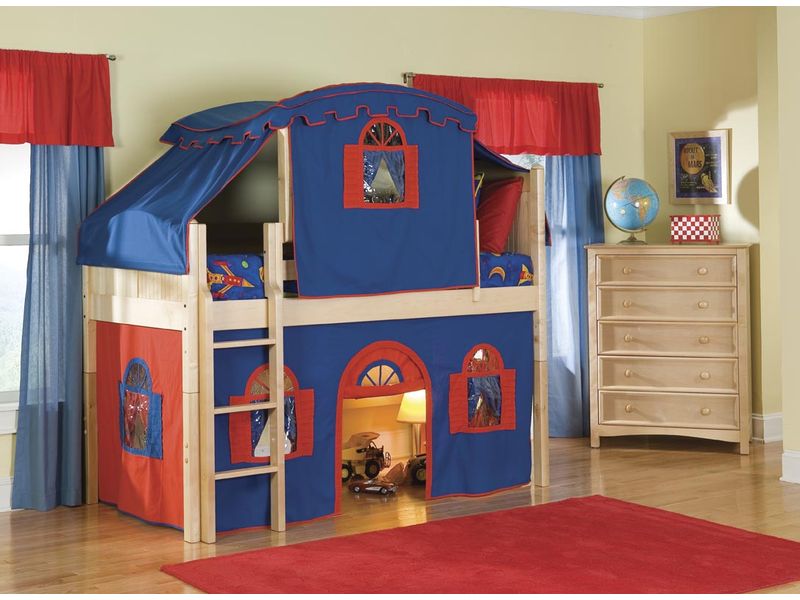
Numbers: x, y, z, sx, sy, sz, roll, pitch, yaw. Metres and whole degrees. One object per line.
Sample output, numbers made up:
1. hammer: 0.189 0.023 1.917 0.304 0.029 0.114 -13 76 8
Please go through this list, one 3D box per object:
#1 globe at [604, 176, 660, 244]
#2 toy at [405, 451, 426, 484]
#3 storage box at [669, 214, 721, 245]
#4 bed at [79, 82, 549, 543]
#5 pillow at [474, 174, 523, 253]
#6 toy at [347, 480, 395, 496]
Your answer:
1. globe: 1.739 -0.665 6.710 0.390 0.452 0.381 2 14 14
2. toy: 0.103 1.084 5.638 0.124 0.161 0.172 -2 -7 35
3. storage box: 2.132 -0.503 6.488 0.246 0.153 0.249 0 4 9
4. bed: -0.390 0.008 5.264 2.558 2.443 0.758 -1 1 -28
5. pillow: 0.592 -0.553 5.633 0.247 0.497 0.263 -7 11 -44
6. toy: -0.163 1.136 5.435 0.171 0.054 0.105 -1 0 14
